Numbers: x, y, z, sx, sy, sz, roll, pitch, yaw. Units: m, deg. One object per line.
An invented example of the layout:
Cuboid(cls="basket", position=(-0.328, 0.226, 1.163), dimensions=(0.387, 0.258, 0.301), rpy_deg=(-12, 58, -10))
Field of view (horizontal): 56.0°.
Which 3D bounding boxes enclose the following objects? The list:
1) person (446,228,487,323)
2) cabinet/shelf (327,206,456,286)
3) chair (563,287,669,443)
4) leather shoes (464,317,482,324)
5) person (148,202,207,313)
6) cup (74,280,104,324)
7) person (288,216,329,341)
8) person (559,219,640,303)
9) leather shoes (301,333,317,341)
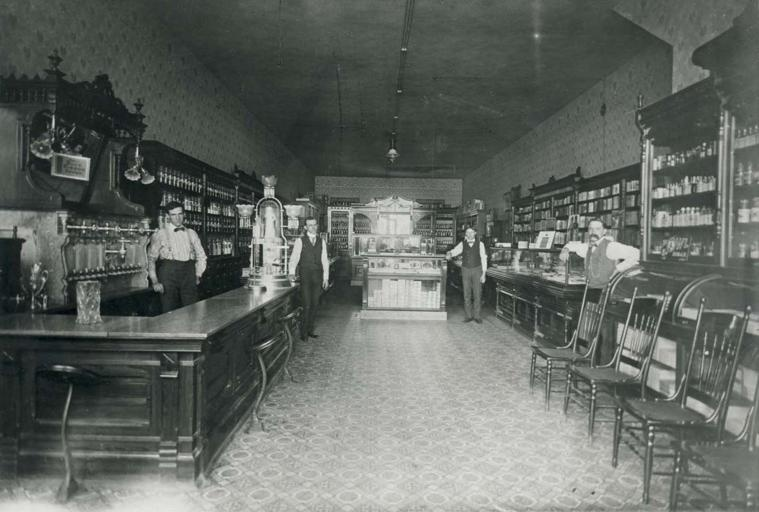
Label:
Cuboid(cls="person", position=(1.601, 0.319, 12.367), dimensions=(0.428, 1.597, 0.504), rpy_deg=(2, 8, 10))
Cuboid(cls="cabinet/shelf", position=(0.530, -0.485, 16.807), dimensions=(2.181, 1.466, 1.233), rpy_deg=(-11, -12, 16))
Cuboid(cls="chair", position=(2.491, 1.142, 7.639), dimensions=(0.883, 1.499, 0.811), rpy_deg=(0, 2, -6))
Cuboid(cls="leather shoes", position=(1.593, 1.118, 12.297), dimensions=(0.295, 0.123, 0.108), rpy_deg=(5, -3, -1))
Cuboid(cls="person", position=(-2.670, 0.320, 9.623), dimensions=(0.755, 1.974, 0.513), rpy_deg=(-5, 16, -23))
Cuboid(cls="cup", position=(-2.895, 0.455, 7.073), dimensions=(0.234, 0.399, 0.266), rpy_deg=(-3, 9, -21))
Cuboid(cls="person", position=(-1.104, 0.343, 10.854), dimensions=(0.661, 1.832, 0.472), rpy_deg=(-4, 9, -30))
Cuboid(cls="person", position=(2.997, 0.100, 9.648), dimensions=(0.639, 1.583, 0.973), rpy_deg=(8, -10, -19))
Cuboid(cls="leather shoes", position=(-1.079, 1.233, 10.841), dimensions=(0.288, 0.119, 0.090), rpy_deg=(-3, 5, -19))
